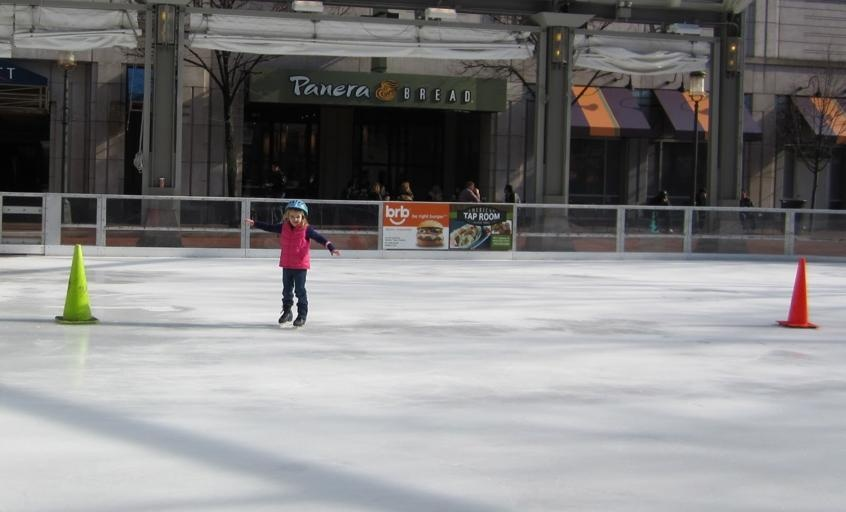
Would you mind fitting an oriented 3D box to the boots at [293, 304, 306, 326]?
[{"bbox_3d":[-2.480,1.179,23.438,0.271,0.437,0.483,-1,3,-7],"label":"boots"}]

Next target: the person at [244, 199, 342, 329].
[{"bbox_3d":[-2.625,0.059,23.801,1.122,2.852,1.565,0,1,-16],"label":"person"}]

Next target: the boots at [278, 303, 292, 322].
[{"bbox_3d":[-2.764,1.156,23.428,0.349,0.376,0.253,-2,3,-26],"label":"boots"}]
